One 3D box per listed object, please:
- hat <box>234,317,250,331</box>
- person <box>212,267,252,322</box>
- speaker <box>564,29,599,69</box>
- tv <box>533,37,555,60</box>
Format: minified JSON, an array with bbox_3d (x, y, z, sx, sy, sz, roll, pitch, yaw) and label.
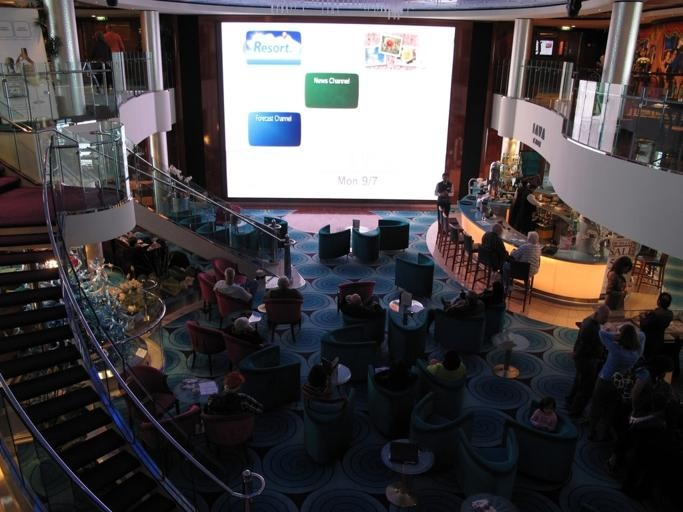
[{"bbox_3d":[-1.611,1.076,8.254,0.182,0.222,0.231,2,24,4],"label":"hat"},{"bbox_3d":[-2.165,0.770,9.952,0.676,0.974,0.614,12,33,15],"label":"person"},{"bbox_3d":[8.920,-7.563,18.666,1.553,1.290,0.368,-5,22,-16],"label":"speaker"},{"bbox_3d":[7.282,-7.487,18.391,1.144,0.855,0.158,-1,18,-1],"label":"tv"}]
